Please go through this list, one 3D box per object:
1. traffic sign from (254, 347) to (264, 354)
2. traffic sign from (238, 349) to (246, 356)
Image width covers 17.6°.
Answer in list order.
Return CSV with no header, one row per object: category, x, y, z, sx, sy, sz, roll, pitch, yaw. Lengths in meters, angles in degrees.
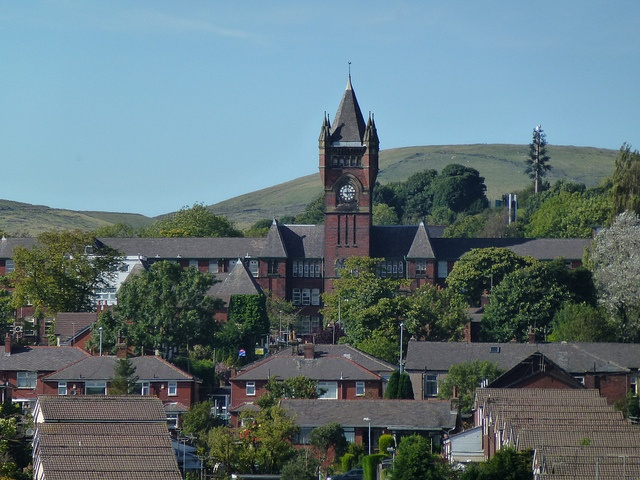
traffic sign,-5.592,10.914,190.308,0.778,0.636,0.457,0,-1,-2
traffic sign,-7.197,10.945,189.979,0.458,0.684,0.662,-1,1,9
